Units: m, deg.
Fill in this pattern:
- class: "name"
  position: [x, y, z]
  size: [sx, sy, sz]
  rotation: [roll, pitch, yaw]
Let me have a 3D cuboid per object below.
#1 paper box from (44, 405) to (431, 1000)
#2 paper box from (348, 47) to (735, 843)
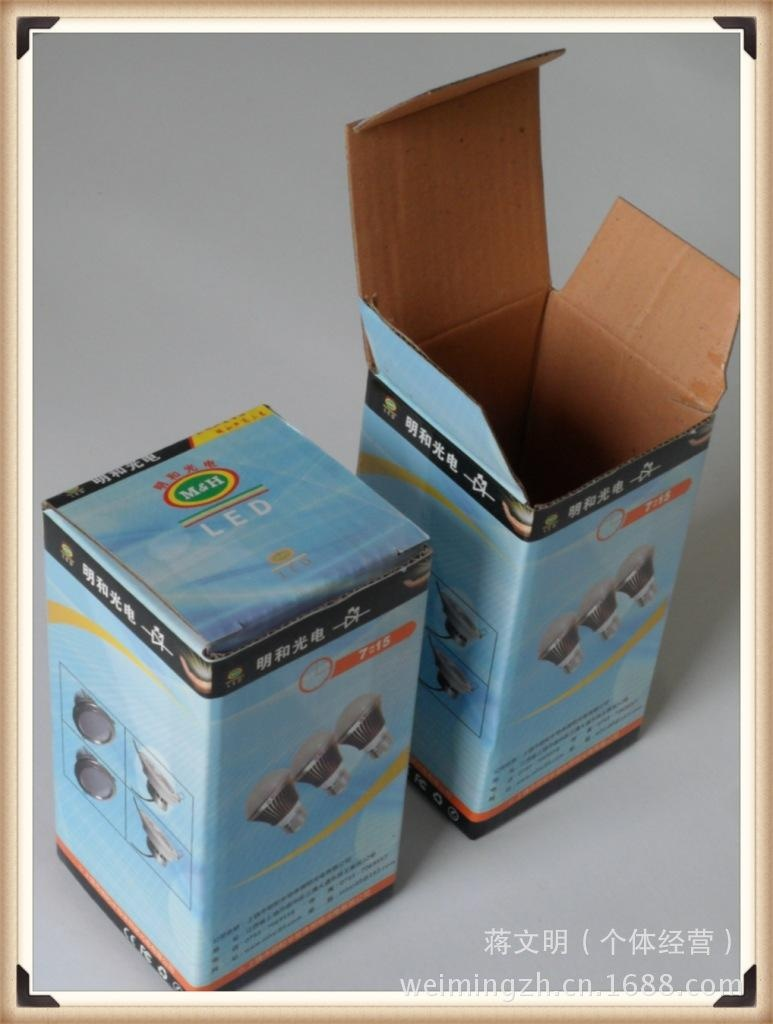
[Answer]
- class: "paper box"
  position: [-0.191, 0.237, 1.195]
  size: [0.331, 0.565, 0.314]
  rotation: [32, 40, 33]
- class: "paper box"
  position: [0.201, -0.065, 1.433]
  size: [0.452, 1.065, 0.590]
  rotation: [25, 37, 34]
